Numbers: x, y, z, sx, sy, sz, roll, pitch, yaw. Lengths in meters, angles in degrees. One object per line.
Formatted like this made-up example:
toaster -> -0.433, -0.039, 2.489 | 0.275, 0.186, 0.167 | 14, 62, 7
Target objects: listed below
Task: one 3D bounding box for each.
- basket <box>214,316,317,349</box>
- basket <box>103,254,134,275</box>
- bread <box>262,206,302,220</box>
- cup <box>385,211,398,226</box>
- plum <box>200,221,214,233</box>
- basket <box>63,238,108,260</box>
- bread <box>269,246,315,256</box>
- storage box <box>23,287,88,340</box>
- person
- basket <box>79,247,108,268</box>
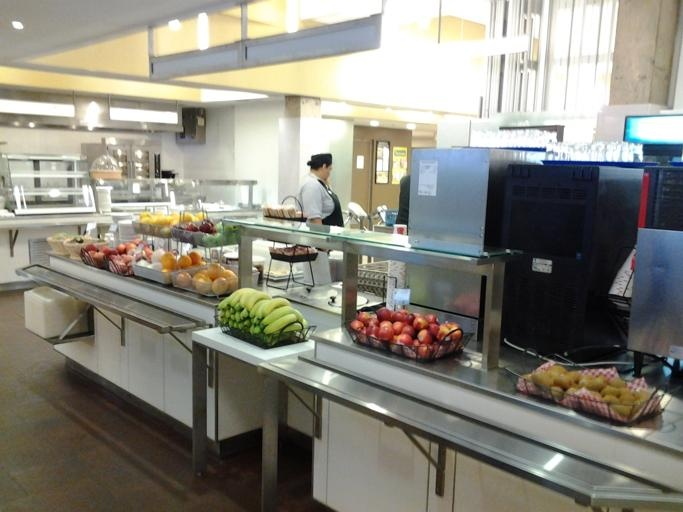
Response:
basket -> -0.420, 0.444, 3.001 | 0.473, 0.135, 0.415 | 12, 11, 29
basket -> -1.765, 0.072, 4.084 | 0.184, 0.062, 0.199 | 8, 12, 16
bread -> -0.524, -0.373, 4.452 | 0.268, 0.095, 0.219 | 5, 6, 23
cup -> 0.611, -0.451, 6.311 | 0.132, 0.163, 0.346 | 2, 11, 3
plum -> -0.936, -0.201, 3.602 | 0.070, 0.043, 0.093 | 4, 49, -4
basket -> -2.266, -0.080, 4.524 | 0.266, 0.106, 0.276 | 3, 6, 33
bread -> -0.357, -0.044, 3.930 | 0.361, 0.080, 0.258 | 1, 11, -8
storage box -> -2.470, 0.486, 4.426 | 0.584, 0.357, 0.329 | 9, 13, 34
person -> -0.153, -0.385, 5.000 | 0.587, 1.180, 0.367 | 0, 1, -29
basket -> -2.073, 0.036, 4.328 | 0.164, 0.088, 0.229 | 9, -4, 0
